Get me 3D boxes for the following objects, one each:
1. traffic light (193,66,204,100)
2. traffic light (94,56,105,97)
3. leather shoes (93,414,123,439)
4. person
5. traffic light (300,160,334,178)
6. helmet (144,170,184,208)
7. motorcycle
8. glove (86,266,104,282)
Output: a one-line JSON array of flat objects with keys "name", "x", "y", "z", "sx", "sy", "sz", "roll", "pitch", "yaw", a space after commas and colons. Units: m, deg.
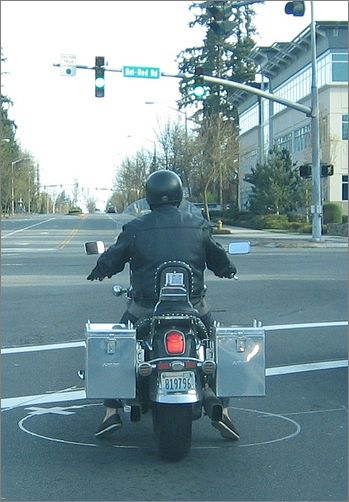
[{"name": "traffic light", "x": 0.854, "y": -5.968, "z": 22.586, "sx": 0.413, "sy": 1.054, "sz": 1.100, "roll": 0, "pitch": 3, "yaw": 2}, {"name": "traffic light", "x": -2.629, "y": -6.180, "z": 22.903, "sx": 0.358, "sy": 1.341, "sz": 0.298, "roll": 0, "pitch": 3, "yaw": -7}, {"name": "leather shoes", "x": -0.408, "y": 1.101, "z": 4.160, "sx": 0.081, "sy": 0.104, "sz": 0.240, "roll": 30, "pitch": -50, "yaw": -27}, {"name": "person", "x": -0.022, "y": 0.366, "z": 4.273, "sx": 0.934, "sy": 1.762, "sz": 0.686, "roll": 1, "pitch": 1, "yaw": -4}, {"name": "traffic light", "x": 6.410, "y": -3.699, "z": 29.298, "sx": 1.355, "sy": 0.801, "sz": 4.228, "roll": 1, "pitch": 3, "yaw": 14}, {"name": "helmet", "x": -0.066, "y": -0.395, "z": 4.378, "sx": 0.273, "sy": 0.330, "sz": 0.336, "roll": -3, "pitch": 12, "yaw": 2}, {"name": "motorcycle", "x": -0.019, "y": 0.582, "z": 4.353, "sx": 0.817, "sy": 1.278, "sz": 1.709, "roll": -1, "pitch": 3, "yaw": -3}, {"name": "glove", "x": -0.507, "y": 0.144, "z": 4.279, "sx": 0.083, "sy": 0.042, "sz": 0.119, "roll": 9, "pitch": -39, "yaw": -24}]
